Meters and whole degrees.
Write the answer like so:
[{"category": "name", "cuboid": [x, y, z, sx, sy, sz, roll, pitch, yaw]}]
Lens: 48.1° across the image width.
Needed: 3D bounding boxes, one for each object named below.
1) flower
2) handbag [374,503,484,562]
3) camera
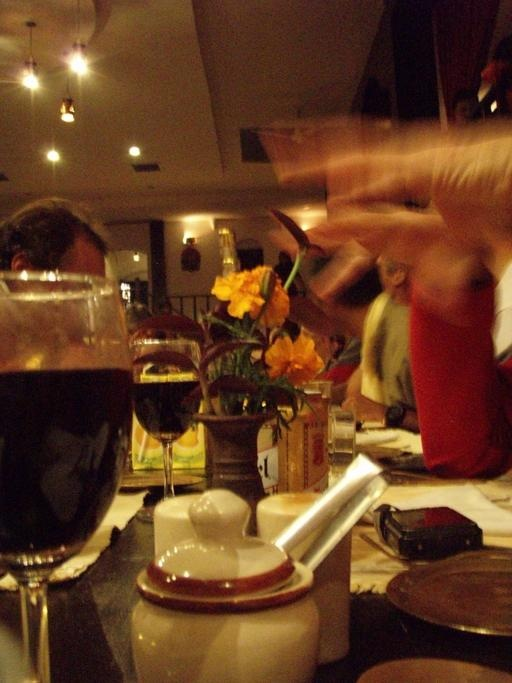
[{"category": "flower", "cuboid": [-0.024, -0.022, 0.708, 0.226, 0.287, 0.177, 12, 6, -3]}, {"category": "handbag", "cuboid": [0.204, 0.228, 0.700, 0.079, 0.032, 0.058, -4, 9, -18]}, {"category": "camera", "cuboid": [0.210, 0.233, 0.707, 0.121, 0.038, 0.106, -2, 5, 9]}]
